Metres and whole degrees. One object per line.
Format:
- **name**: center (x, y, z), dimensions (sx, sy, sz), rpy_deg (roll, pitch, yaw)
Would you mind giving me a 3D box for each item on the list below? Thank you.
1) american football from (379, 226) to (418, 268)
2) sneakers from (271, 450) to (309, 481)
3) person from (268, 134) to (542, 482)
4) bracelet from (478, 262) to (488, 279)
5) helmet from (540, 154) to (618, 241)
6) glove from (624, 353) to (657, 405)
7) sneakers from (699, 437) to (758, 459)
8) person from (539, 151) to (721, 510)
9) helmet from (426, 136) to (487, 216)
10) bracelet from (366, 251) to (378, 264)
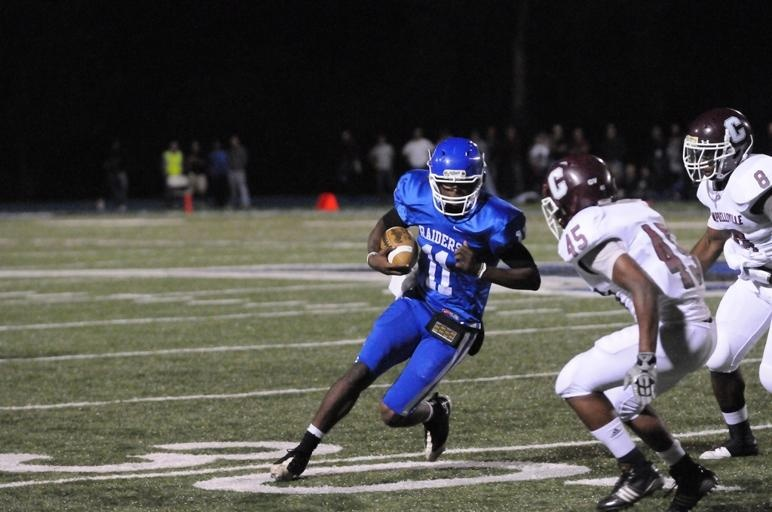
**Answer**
- **american football**: center (0.091, -0.040, 7.956), dimensions (0.205, 0.183, 0.300), rpy_deg (6, 34, -31)
- **sneakers**: center (-0.630, 1.423, 7.600), dimensions (0.247, 0.179, 0.108), rpy_deg (-36, -13, -4)
- **person**: center (0.231, 0.293, 7.902), dimensions (1.620, 2.199, 0.743), rpy_deg (-3, 13, -11)
- **bracelet**: center (0.661, 0.095, 7.661), dimensions (0.022, 0.093, 0.067), rpy_deg (26, 10, -8)
- **helmet**: center (1.230, -0.397, 7.375), dimensions (0.579, 0.578, 0.468), rpy_deg (2, 14, 42)
- **glove**: center (1.600, 0.750, 6.919), dimensions (0.201, 0.305, 0.104), rpy_deg (2, -1, 0)
- **sneakers**: center (2.440, 1.357, 7.921), dimensions (0.420, 0.165, 0.151), rpy_deg (1, -11, 2)
- **person**: center (1.586, 0.495, 7.213), dimensions (1.161, 2.203, 0.774), rpy_deg (3, 13, 14)
- **helmet**: center (0.498, -0.554, 7.803), dimensions (0.401, 0.477, 0.540), rpy_deg (1, 19, 7)
- **bracelet**: center (-0.094, 0.006, 8.054), dimensions (0.039, 0.099, 0.077), rpy_deg (48, 12, 31)
